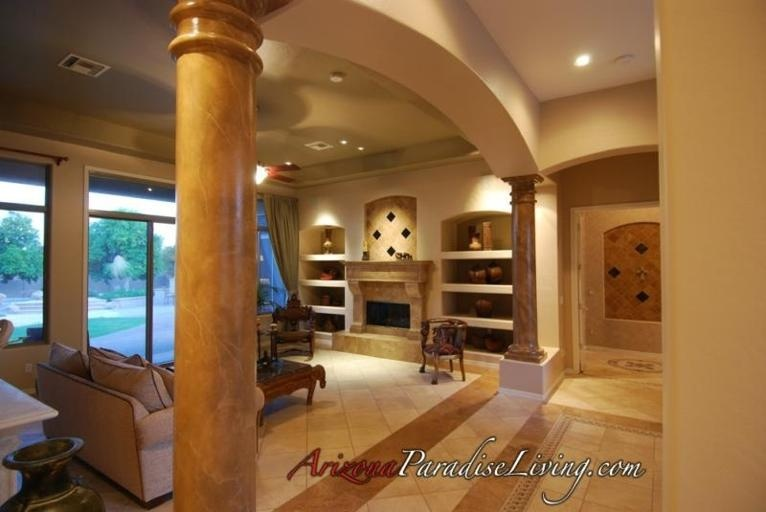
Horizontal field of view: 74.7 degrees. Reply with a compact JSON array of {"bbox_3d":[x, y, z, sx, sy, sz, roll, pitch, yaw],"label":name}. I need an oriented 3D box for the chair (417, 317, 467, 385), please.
[{"bbox_3d":[0.917,1.292,7.188,0.734,0.881,0.890,2,-5,-20],"label":"chair"}]

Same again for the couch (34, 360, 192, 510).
[{"bbox_3d":[-1.951,1.326,3.715,1.420,0.598,0.602,4,3,28],"label":"couch"}]

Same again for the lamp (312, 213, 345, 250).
[{"bbox_3d":[-1.043,-0.496,9.677,0.633,0.593,0.356,-4,-7,36],"label":"lamp"}]

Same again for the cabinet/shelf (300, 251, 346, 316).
[{"bbox_3d":[-1.146,0.538,9.561,1.177,1.102,0.618,-3,-6,40],"label":"cabinet/shelf"}]

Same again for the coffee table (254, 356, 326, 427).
[{"bbox_3d":[-1.091,1.377,5.596,0.587,0.382,0.804,-2,3,-43],"label":"coffee table"}]

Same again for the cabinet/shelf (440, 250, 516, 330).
[{"bbox_3d":[1.479,0.524,7.749,0.415,1.135,1.245,4,-6,-36],"label":"cabinet/shelf"}]
